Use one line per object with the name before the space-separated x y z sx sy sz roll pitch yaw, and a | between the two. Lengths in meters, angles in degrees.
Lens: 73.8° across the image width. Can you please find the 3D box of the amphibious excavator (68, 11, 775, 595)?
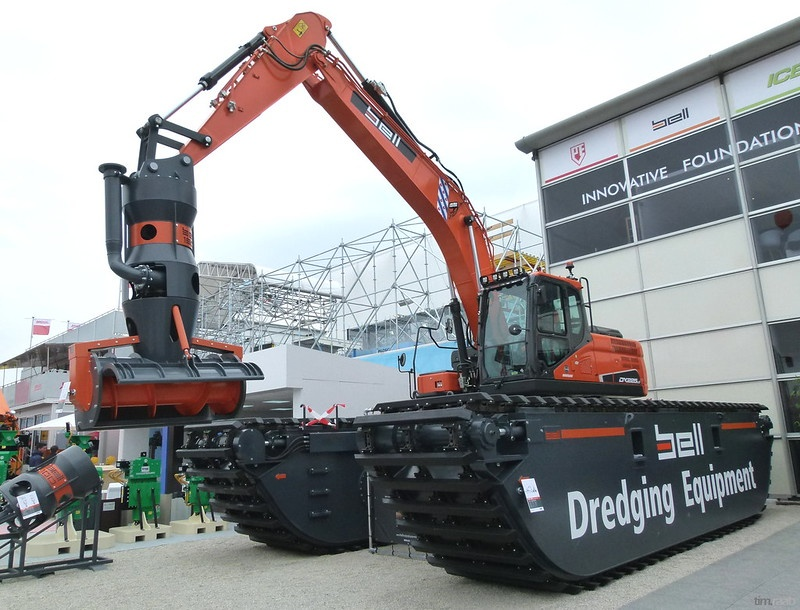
amphibious excavator | 0.697 0.254 8.159 9.573 5.846 4.773 6 -12 -35

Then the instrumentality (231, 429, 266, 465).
instrumentality | -2.204 2.024 7.596 0.484 0.492 0.207 13 -24 -40
